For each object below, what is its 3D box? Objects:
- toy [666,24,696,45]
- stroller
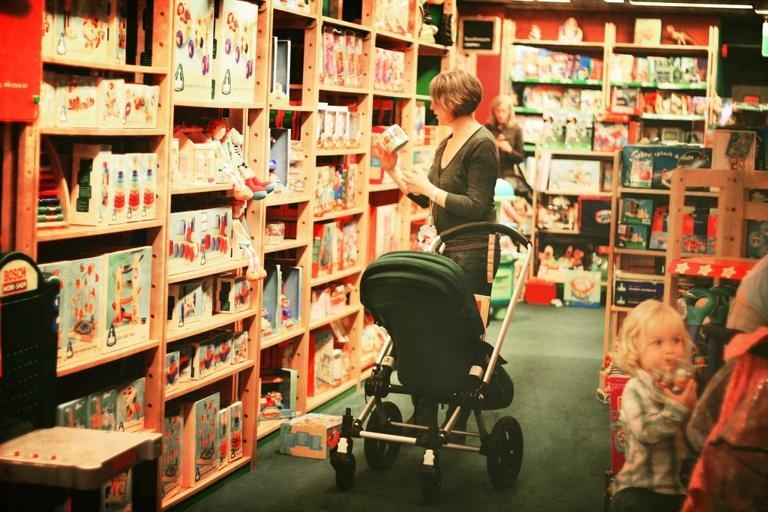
[{"bbox_3d":[4.062,-3.027,9.670,0.357,0.159,0.246,16,-2,-8],"label":"toy"},{"bbox_3d":[0.287,0.544,4.163,0.865,1.579,1.181,0,-6,35],"label":"stroller"}]
